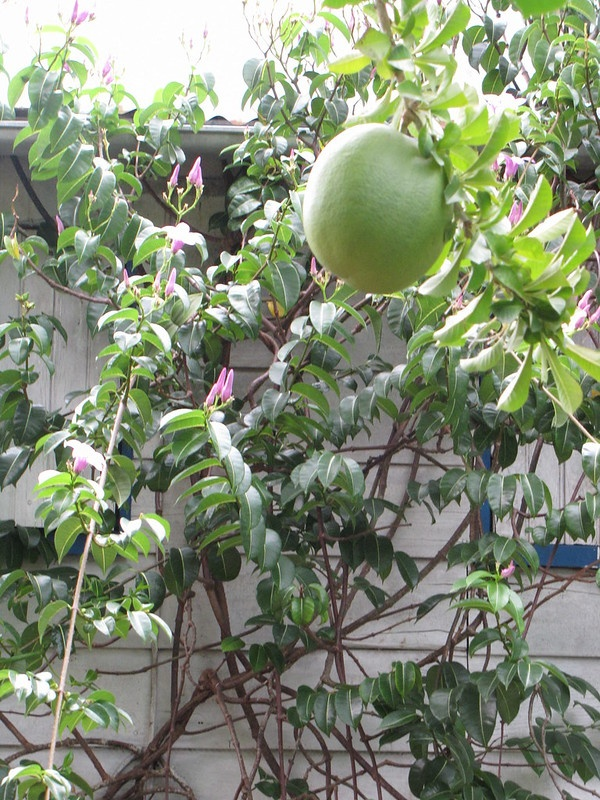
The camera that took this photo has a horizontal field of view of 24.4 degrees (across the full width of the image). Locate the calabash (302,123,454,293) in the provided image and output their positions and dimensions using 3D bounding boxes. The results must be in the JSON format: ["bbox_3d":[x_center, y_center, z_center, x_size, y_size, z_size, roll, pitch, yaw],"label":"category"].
[{"bbox_3d":[0.111,-0.261,2.013,0.211,0.214,0.280,4,-87,11],"label":"calabash"}]
